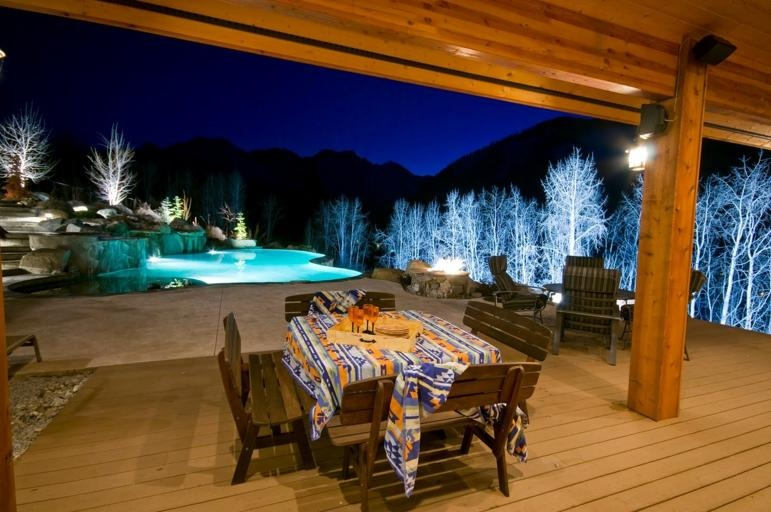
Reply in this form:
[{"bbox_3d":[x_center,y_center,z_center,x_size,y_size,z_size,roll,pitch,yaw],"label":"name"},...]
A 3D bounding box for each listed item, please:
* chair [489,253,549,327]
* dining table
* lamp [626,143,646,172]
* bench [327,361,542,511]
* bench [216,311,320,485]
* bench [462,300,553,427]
[{"bbox_3d":[2.186,0.541,7.388,1.273,1.444,1.139,-2,5,7],"label":"chair"},{"bbox_3d":[0.072,0.794,3.423,1.476,0.484,1.380,-1,8,-27],"label":"dining table"},{"bbox_3d":[3.644,-1.461,6.096,0.185,0.455,0.689,3,3,26],"label":"lamp"},{"bbox_3d":[0.342,1.391,3.202,1.326,0.787,0.592,0,5,-16],"label":"bench"},{"bbox_3d":[-1.000,1.268,3.577,0.644,0.807,1.208,-4,25,-15],"label":"bench"},{"bbox_3d":[1.082,0.990,3.744,0.507,0.718,1.110,-2,11,-16],"label":"bench"}]
